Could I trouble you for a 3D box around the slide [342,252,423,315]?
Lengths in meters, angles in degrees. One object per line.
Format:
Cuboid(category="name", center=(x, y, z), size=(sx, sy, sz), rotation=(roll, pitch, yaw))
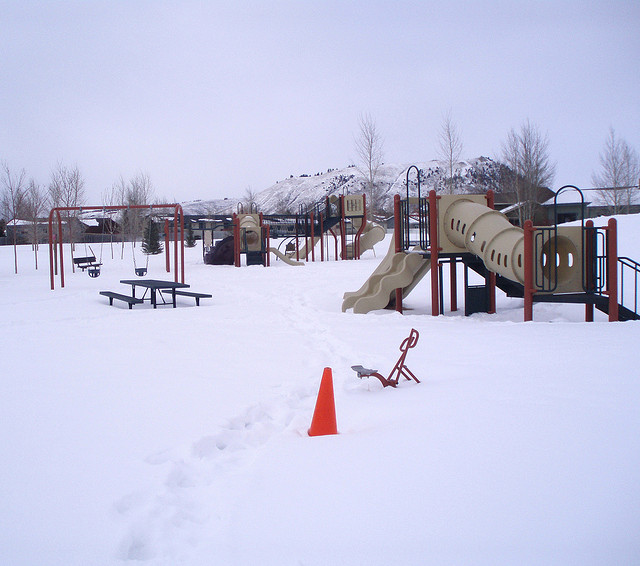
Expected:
Cuboid(category="slide", center=(1.093, -0.018, 12.258), size=(1.383, 0.951, 0.832), rotation=(-8, 12, -26))
